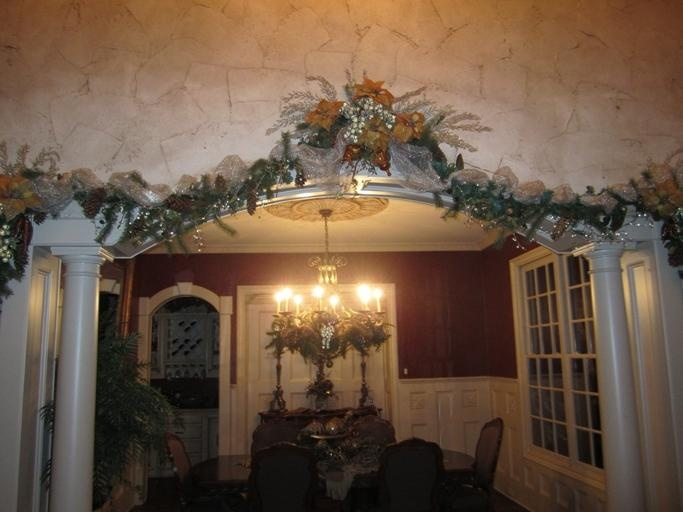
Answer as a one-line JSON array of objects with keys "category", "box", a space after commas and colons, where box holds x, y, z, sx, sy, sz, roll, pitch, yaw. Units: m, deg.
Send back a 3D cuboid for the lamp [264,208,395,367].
[{"category": "lamp", "box": [-0.154, 0.320, 6.364, 1.244, 1.934, 1.321, -1, -6, -5]}]
